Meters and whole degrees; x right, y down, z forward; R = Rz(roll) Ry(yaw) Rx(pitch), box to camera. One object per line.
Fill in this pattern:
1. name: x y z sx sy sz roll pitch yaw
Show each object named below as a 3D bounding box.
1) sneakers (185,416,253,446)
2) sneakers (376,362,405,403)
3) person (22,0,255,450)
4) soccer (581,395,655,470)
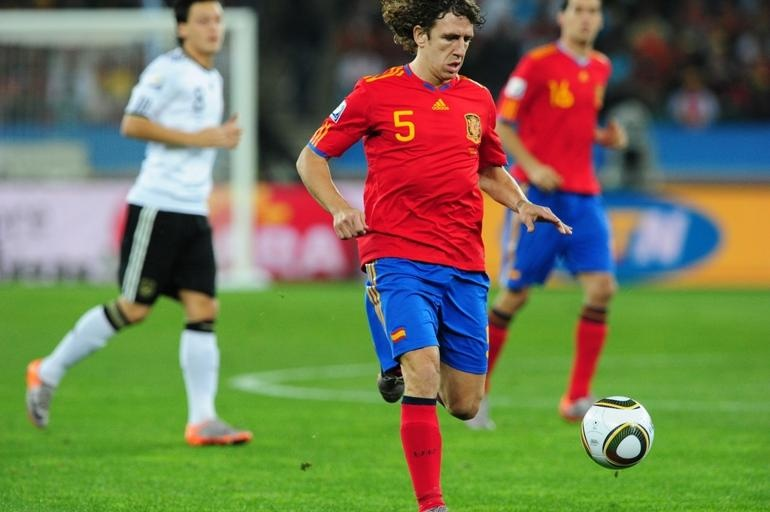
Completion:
1. sneakers: -1.236 1.293 7.148 0.365 0.158 0.216 -5 -4 12
2. sneakers: 0.038 0.968 6.900 0.159 0.289 0.282 -5 -17 8
3. person: -1.681 -0.266 7.199 1.403 3.260 0.696 0 7 -8
4. soccer: 1.586 1.143 6.606 0.447 0.474 0.452 2 -1 16
